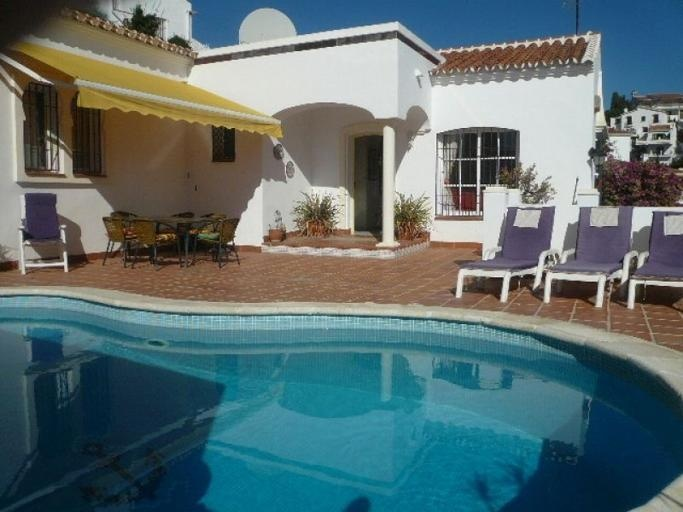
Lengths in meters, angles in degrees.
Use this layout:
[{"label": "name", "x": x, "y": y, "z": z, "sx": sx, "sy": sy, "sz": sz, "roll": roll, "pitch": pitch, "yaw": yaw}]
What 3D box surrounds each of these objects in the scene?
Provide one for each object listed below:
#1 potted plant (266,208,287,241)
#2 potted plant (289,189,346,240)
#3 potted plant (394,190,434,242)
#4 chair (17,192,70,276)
[{"label": "potted plant", "x": -1.847, "y": -0.833, "z": 15.333, "sx": 0.530, "sy": 0.849, "sz": 0.531, "roll": 7, "pitch": 12, "yaw": 40}, {"label": "potted plant", "x": -0.742, "y": -1.203, "z": 16.952, "sx": 1.213, "sy": 1.063, "sz": 1.307, "roll": -2, "pitch": 7, "yaw": 35}, {"label": "potted plant", "x": 1.934, "y": -1.111, "z": 15.894, "sx": 1.036, "sy": 1.234, "sz": 0.998, "roll": 4, "pitch": 2, "yaw": -8}, {"label": "chair", "x": -6.101, "y": -0.454, "z": 10.912, "sx": 1.002, "sy": 1.567, "sz": 1.184, "roll": -1, "pitch": 8, "yaw": -13}]
